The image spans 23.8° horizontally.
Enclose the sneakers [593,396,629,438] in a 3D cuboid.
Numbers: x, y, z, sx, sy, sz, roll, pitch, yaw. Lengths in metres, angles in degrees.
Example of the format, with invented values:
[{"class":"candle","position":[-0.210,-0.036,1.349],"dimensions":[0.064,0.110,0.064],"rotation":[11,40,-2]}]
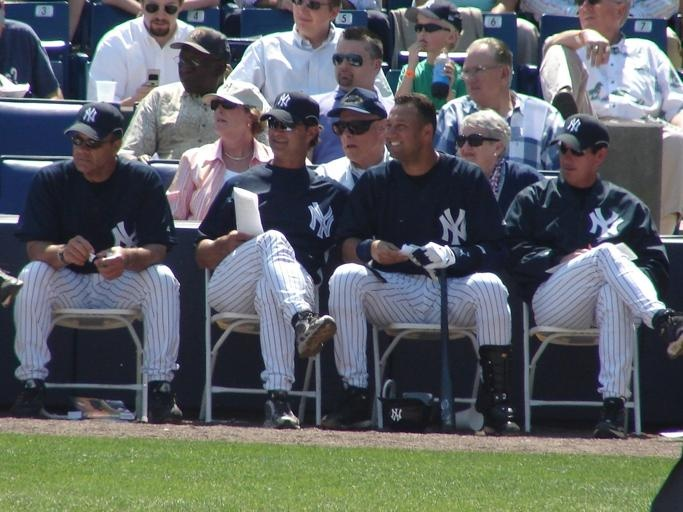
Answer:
[{"class":"sneakers","position":[1.621,0.997,9.715],"dimensions":[0.123,0.224,0.323],"rotation":[2,2,18]}]

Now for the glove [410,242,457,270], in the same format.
[{"class":"glove","position":[0.547,-0.010,9.783],"dimensions":[0.187,0.093,0.189],"rotation":[8,5,31]}]

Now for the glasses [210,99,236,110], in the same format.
[{"class":"glasses","position":[-0.797,-1.038,10.768],"dimensions":[0.089,0.029,0.094],"rotation":[0,-19,20]}]

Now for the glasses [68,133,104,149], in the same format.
[{"class":"glasses","position":[-1.573,-0.728,9.953],"dimensions":[0.195,0.099,0.045],"rotation":[0,-7,5]}]

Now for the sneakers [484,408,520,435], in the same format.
[{"class":"sneakers","position":[1.002,1.013,9.715],"dimensions":[0.287,0.115,0.103],"rotation":[2,3,35]}]

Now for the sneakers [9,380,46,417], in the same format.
[{"class":"sneakers","position":[-1.901,0.886,9.802],"dimensions":[0.211,0.254,0.156],"rotation":[-1,-6,2]}]

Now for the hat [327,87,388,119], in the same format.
[{"class":"hat","position":[0.142,-1.012,10.498],"dimensions":[0.222,0.142,0.306],"rotation":[3,-3,44]}]

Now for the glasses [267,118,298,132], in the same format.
[{"class":"glasses","position":[-0.387,-0.855,10.226],"dimensions":[0.175,0.087,0.053],"rotation":[0,-7,4]}]

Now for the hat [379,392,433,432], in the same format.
[{"class":"hat","position":[0.404,0.979,9.779],"dimensions":[0.316,0.225,0.179],"rotation":[0,2,26]}]

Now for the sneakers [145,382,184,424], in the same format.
[{"class":"sneakers","position":[-1.103,0.924,9.883],"dimensions":[0.280,0.298,0.284],"rotation":[-1,-2,6]}]

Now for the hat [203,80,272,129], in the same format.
[{"class":"hat","position":[-0.699,-1.129,11.006],"dimensions":[0.328,0.170,0.507],"rotation":[-9,0,22]}]

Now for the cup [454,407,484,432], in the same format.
[{"class":"cup","position":[0.793,1.014,9.899],"dimensions":[0.173,0.158,0.237],"rotation":[3,-7,-20]}]

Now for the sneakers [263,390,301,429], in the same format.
[{"class":"sneakers","position":[-0.370,0.942,9.753],"dimensions":[0.177,0.226,0.335],"rotation":[-2,7,-22]}]

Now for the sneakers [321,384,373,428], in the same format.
[{"class":"sneakers","position":[0.045,0.934,9.902],"dimensions":[0.291,0.301,0.260],"rotation":[2,31,10]}]

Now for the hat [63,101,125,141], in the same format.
[{"class":"hat","position":[-1.537,-0.866,10.115],"dimensions":[0.325,0.243,0.440],"rotation":[13,6,35]}]

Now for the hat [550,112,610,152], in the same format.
[{"class":"hat","position":[1.544,-0.836,10.380],"dimensions":[0.321,0.234,0.443],"rotation":[12,14,39]}]
